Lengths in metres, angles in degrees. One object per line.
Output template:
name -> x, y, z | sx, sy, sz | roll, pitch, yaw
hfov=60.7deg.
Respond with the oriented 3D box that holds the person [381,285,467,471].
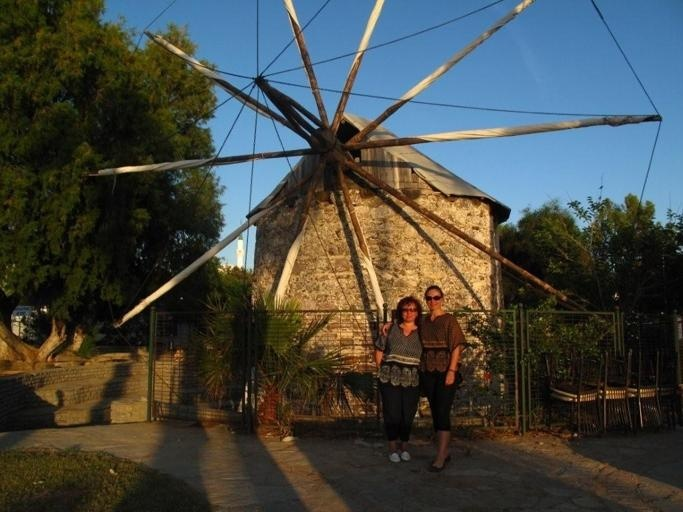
person -> 1.374, 1.603, 7.900 | 0.534, 2.400, 0.544 | 1, -2, -12
